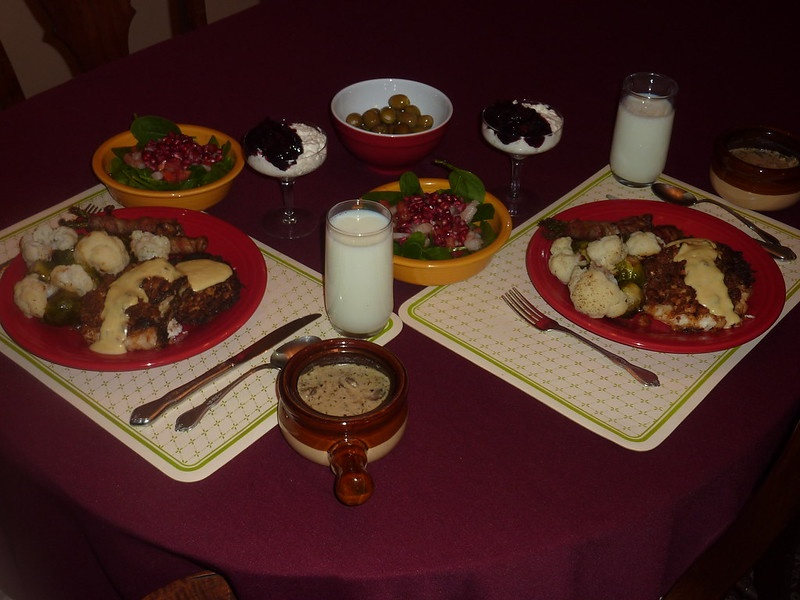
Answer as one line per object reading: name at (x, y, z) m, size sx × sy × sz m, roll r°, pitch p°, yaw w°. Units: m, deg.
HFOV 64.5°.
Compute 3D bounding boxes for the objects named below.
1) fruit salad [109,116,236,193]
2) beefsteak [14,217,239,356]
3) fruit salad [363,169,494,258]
fruit salad at (-0.649, -0.397, 1.796) m, size 0.264 × 0.101 × 0.267 m, roll 7°, pitch 45°, yaw -5°
beefsteak at (-0.648, -0.032, 1.465) m, size 0.361 × 0.099 × 0.407 m, roll 0°, pitch 35°, yaw -3°
fruit salad at (0.101, -0.214, 1.638) m, size 0.271 × 0.114 × 0.275 m, roll -29°, pitch 50°, yaw -26°
